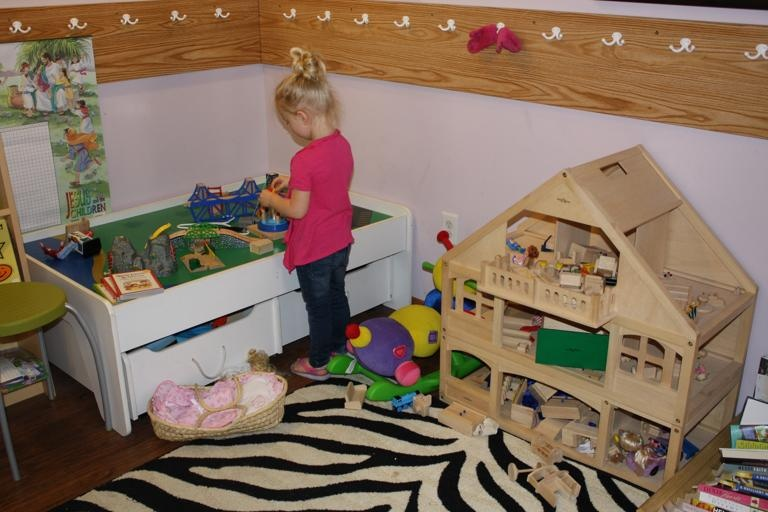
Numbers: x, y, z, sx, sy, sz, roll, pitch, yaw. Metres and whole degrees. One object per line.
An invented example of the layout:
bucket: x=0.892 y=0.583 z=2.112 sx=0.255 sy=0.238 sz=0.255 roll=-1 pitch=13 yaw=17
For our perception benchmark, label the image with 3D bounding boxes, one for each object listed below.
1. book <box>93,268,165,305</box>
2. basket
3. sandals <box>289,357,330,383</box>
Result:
book: x=-1.189 y=0.133 z=2.622 sx=0.189 sy=0.042 sz=0.188 roll=-8 pitch=30 yaw=-27
basket: x=-0.790 y=0.715 z=2.685 sx=0.524 sy=0.174 sz=0.318 roll=-5 pitch=29 yaw=-13
sandals: x=-0.406 y=0.615 z=3.092 sx=0.208 sy=0.083 sz=0.094 roll=18 pitch=28 yaw=23
